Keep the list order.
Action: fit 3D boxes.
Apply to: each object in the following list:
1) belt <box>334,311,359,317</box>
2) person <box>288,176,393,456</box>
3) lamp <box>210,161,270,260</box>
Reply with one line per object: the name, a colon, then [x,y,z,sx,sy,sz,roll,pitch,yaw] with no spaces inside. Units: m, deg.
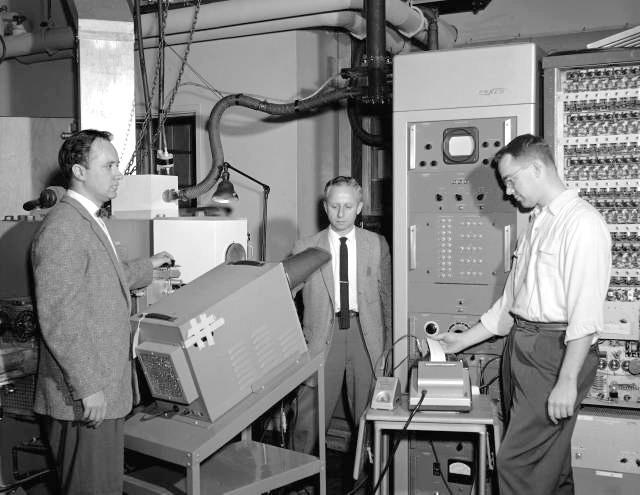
belt: [0.152,0.385,3.959,0.132,0.033,0.021,1,7,-5]
person: [0.157,0.394,3.937,0.625,1.563,0.713,0,7,-8]
lamp: [-0.588,-0.236,5.405,0.438,0.848,1.390,0,8,-7]
